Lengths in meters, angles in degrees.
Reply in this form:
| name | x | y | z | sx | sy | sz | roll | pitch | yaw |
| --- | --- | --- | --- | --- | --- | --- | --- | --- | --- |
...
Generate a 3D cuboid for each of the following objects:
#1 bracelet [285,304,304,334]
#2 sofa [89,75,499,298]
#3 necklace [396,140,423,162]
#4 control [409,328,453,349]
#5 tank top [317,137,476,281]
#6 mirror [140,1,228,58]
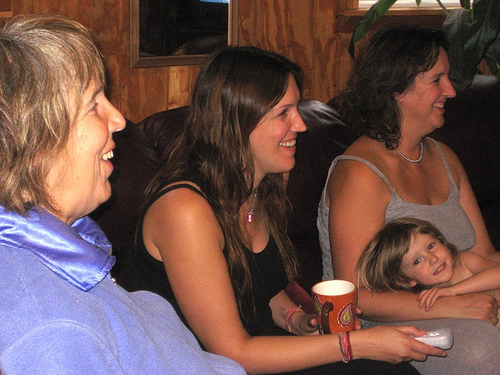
| name | x | y | z | sx | sy | sz | roll | pitch | yaw |
| --- | --- | --- | --- | --- | --- | --- | --- | --- | --- |
| bracelet | 0.156 | 0.485 | 1.916 | 0.062 | 0.086 | 0.031 | -2 | -5 | 34 |
| sofa | -0.281 | -0.081 | 3.441 | 2.371 | 0.942 | 0.865 | -5 | 4 | -22 |
| necklace | 0.676 | -0.137 | 2.241 | 0.089 | 0.015 | 0.089 | 53 | 33 | 13 |
| control | 0.570 | 0.480 | 1.669 | 0.118 | 0.049 | 0.064 | 3 | 43 | 6 |
| tank top | 0.600 | 0.103 | 2.141 | 0.456 | 0.633 | 0.335 | -14 | -7 | -33 |
| mirror | -0.413 | -0.934 | 3.085 | 0.636 | 0.469 | 0.017 | -15 | 24 | -35 |
